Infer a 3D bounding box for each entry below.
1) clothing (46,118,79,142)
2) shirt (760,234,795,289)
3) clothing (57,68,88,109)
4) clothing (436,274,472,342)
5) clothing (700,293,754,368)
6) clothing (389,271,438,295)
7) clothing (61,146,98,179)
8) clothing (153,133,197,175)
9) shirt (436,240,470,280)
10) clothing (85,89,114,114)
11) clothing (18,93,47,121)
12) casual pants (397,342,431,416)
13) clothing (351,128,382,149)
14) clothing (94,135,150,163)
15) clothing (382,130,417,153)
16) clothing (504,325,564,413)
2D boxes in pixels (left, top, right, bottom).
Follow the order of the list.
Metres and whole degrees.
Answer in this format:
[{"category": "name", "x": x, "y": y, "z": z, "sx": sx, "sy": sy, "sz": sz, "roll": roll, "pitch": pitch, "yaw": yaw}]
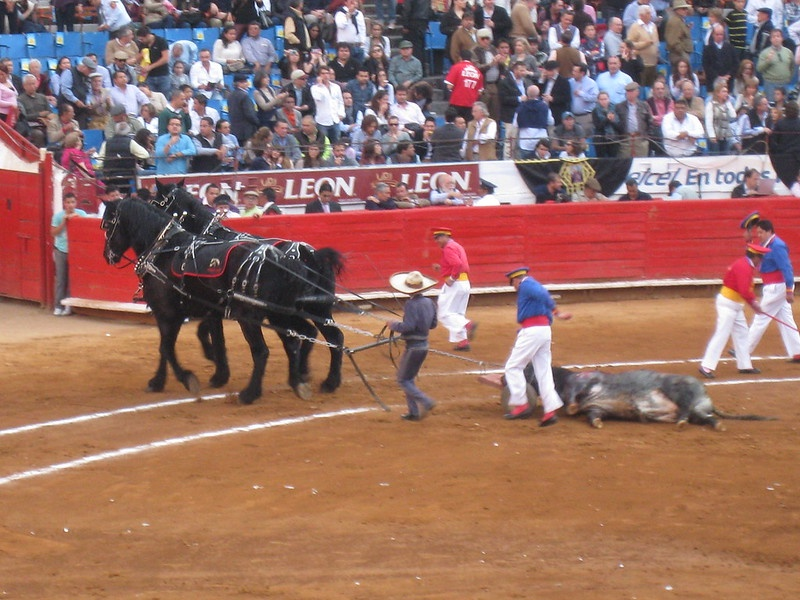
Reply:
[{"category": "clothing", "x": -7.090, "y": -3.559, "z": 28.101, "sx": 0.621, "sy": 0.529, "sz": 0.402, "roll": -2, "pitch": 7, "yaw": -11}, {"category": "shirt", "x": 6.755, "y": -0.703, "z": 24.081, "sx": 0.685, "sy": 0.950, "sz": 0.467, "roll": 2, "pitch": 8, "yaw": 24}, {"category": "clothing", "x": -7.228, "y": -4.659, "z": 29.278, "sx": 0.845, "sy": 0.837, "sz": 0.906, "roll": 13, "pitch": 8, "yaw": -12}, {"category": "clothing", "x": 0.992, "y": 0.223, "z": 25.177, "sx": 0.620, "sy": 1.225, "sz": 0.414, "roll": 0, "pitch": 8, "yaw": 8}, {"category": "clothing", "x": 5.732, "y": 0.581, "z": 23.535, "sx": 0.598, "sy": 1.377, "sz": 1.007, "roll": 5, "pitch": 9, "yaw": 36}, {"category": "clothing", "x": 0.223, "y": -0.283, "z": 22.509, "sx": 0.638, "sy": 0.142, "sz": 0.549, "roll": 1, "pitch": 15, "yaw": -1}, {"category": "clothing", "x": -6.544, "y": -2.777, "z": 27.229, "sx": 0.556, "sy": 0.616, "sz": 0.803, "roll": -13, "pitch": 3, "yaw": 9}, {"category": "clothing", "x": -4.758, "y": -3.029, "z": 27.610, "sx": 0.961, "sy": 0.763, "sz": 0.600, "roll": -9, "pitch": 24, "yaw": -40}, {"category": "shirt", "x": 1.037, "y": -0.721, "z": 25.141, "sx": 0.680, "sy": 0.683, "sz": 1.020, "roll": -3, "pitch": 6, "yaw": 16}, {"category": "clothing", "x": -6.509, "y": -4.327, "z": 29.047, "sx": 0.739, "sy": 0.475, "sz": 0.224, "roll": 1, "pitch": 3, "yaw": 11}, {"category": "clothing", "x": -7.834, "y": -4.091, "z": 28.416, "sx": 0.782, "sy": 0.540, "sz": 0.428, "roll": -10, "pitch": 10, "yaw": -34}, {"category": "casual pants", "x": 0.228, "y": 1.285, "z": 21.078, "sx": 0.543, "sy": 1.182, "sz": 0.368, "roll": -1, "pitch": 8, "yaw": -1}, {"category": "clothing", "x": -0.733, "y": -3.565, "z": 29.474, "sx": 0.925, "sy": 0.501, "sz": 0.399, "roll": -1, "pitch": 3, "yaw": -12}, {"category": "clothing", "x": -5.622, "y": -2.990, "z": 27.641, "sx": 1.312, "sy": 0.404, "sz": 0.568, "roll": -1, "pitch": 2, "yaw": -4}, {"category": "clothing", "x": -0.131, "y": -3.505, "z": 29.351, "sx": 0.800, "sy": 0.511, "sz": 0.328, "roll": -1, "pitch": -17, "yaw": -20}, {"category": "clothing", "x": 2.076, "y": 1.065, "z": 21.011, "sx": 0.893, "sy": 1.351, "sz": 0.450, "roll": -1, "pitch": 8, "yaw": 4}]
